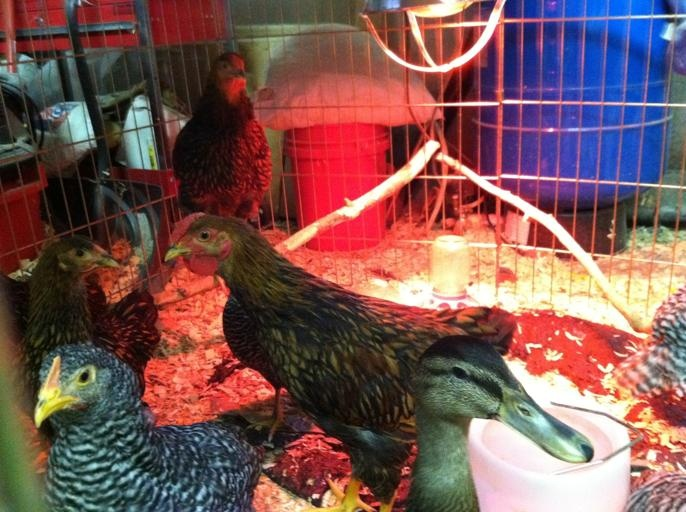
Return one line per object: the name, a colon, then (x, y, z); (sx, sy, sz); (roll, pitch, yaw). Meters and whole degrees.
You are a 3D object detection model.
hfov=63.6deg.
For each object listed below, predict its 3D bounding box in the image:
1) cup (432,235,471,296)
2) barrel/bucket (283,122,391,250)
cup: (0.242, 0.023, 1.267); (0.093, 0.153, 0.093); (-4, 19, 1)
barrel/bucket: (-0.038, -0.228, 1.908); (0.393, 0.446, 0.407); (-2, -4, 0)
